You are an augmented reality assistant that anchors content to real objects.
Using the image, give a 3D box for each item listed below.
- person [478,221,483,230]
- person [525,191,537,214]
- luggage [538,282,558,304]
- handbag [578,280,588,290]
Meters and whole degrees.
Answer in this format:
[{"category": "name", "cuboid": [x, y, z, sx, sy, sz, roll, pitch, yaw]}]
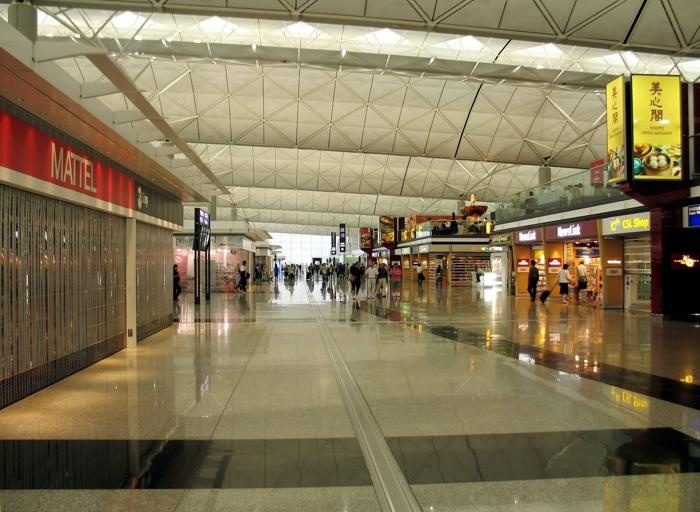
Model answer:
[{"category": "person", "cuboid": [12.319, -2.805, 50.689, 0.733, 1.027, 0.554, 3, 6, 16]}, {"category": "person", "cuboid": [10.107, -2.961, 30.103, 0.225, 0.956, 0.948, 4, 1, -23]}, {"category": "luggage", "cuboid": [9.543, 1.854, 26.075, 0.336, 0.945, 0.608, 15, 11, -20]}, {"category": "handbag", "cuboid": [11.490, 1.463, 26.711, 0.383, 0.527, 0.537, 1, -5, -13]}]
